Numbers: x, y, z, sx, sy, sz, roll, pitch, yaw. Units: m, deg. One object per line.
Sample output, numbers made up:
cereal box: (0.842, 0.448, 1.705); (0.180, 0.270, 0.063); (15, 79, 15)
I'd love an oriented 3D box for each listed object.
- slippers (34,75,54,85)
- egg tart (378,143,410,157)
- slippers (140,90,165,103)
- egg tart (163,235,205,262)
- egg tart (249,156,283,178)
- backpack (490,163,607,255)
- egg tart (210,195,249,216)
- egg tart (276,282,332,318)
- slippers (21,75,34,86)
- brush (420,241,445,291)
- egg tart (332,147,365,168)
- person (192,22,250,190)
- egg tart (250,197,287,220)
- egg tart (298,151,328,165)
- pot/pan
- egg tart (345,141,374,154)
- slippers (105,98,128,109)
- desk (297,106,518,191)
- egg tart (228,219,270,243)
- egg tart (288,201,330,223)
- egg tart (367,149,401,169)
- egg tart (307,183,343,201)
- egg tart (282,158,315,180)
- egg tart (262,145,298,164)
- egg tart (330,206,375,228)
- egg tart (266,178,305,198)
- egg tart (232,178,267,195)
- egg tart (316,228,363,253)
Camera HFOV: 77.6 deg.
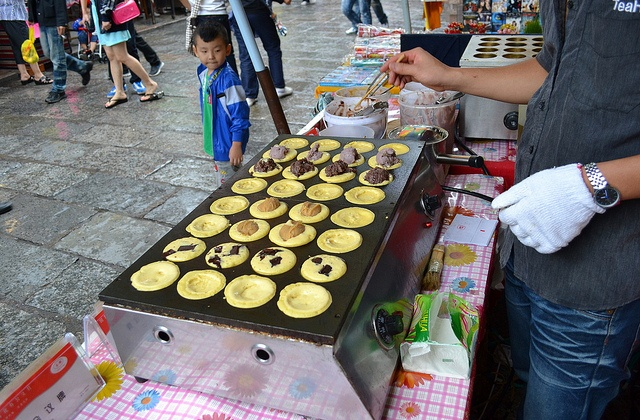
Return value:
slippers: (-5.403, -2.545, 7.818); (0.445, 0.169, 0.206); (-3, 45, -6)
egg tart: (0.369, -0.301, 1.918); (0.090, 0.012, 0.088); (-29, 36, -33)
slippers: (-2.804, -1.904, 6.671); (0.358, 0.074, 0.184); (-2, 30, 8)
egg tart: (-0.503, 0.145, 1.458); (0.103, 0.010, 0.089); (-14, 33, -21)
egg tart: (-0.265, -0.193, 1.879); (0.116, 0.034, 0.112); (16, 39, 24)
backpack: (0.731, -0.004, 1.303); (0.309, 0.281, 0.148); (9, 38, 22)
egg tart: (-0.381, -0.016, 1.676); (0.105, 0.017, 0.098); (-12, 32, -13)
egg tart: (-0.049, 0.289, 1.254); (0.170, 0.020, 0.139); (0, 33, 8)
slippers: (-5.749, -2.564, 7.846); (0.350, 0.125, 0.117); (-16, 48, -19)
brush: (0.475, 0.248, 1.704); (0.072, 0.060, 0.232); (1, 27, 21)
egg tart: (0.139, -0.251, 1.879); (0.122, 0.036, 0.114); (2, 35, 12)
person: (-0.826, -0.818, 3.465); (0.566, 1.463, 0.428); (-11, 21, -24)
egg tart: (-0.212, 0.000, 1.617); (0.116, 0.035, 0.107); (3, 34, 5)
egg tart: (-0.032, -0.254, 1.945); (0.101, 0.015, 0.094); (-4, 25, -4)
pot/pan: (0.604, -0.347, 2.096); (0.462, 0.159, 0.250); (20, 39, 39)
egg tart: (0.201, -0.322, 2.010); (0.098, 0.010, 0.095); (14, 40, 26)
slippers: (-3.366, -1.787, 6.642); (0.147, 0.103, 0.373); (6, 26, 19)
desk: (0.483, -0.322, 2.104); (0.350, 0.432, 0.388); (12, 37, 23)
egg tart: (-0.269, 0.080, 1.523); (0.107, 0.036, 0.106); (9, 27, 25)
egg tart: (-0.055, 0.014, 1.578); (0.112, 0.032, 0.105); (7, 34, 15)
egg tart: (0.296, -0.231, 1.810); (0.115, 0.047, 0.116); (26, 46, 35)
egg tart: (0.019, -0.075, 1.719); (0.100, 0.019, 0.094); (5, 38, 13)
egg tart: (-0.103, -0.183, 1.841); (0.122, 0.043, 0.115); (4, 33, 12)
egg tart: (-0.191, -0.276, 1.985); (0.124, 0.036, 0.115); (-11, 34, -10)
egg tart: (0.125, 0.033, 1.542); (0.104, 0.017, 0.101); (-19, 40, -16)
egg tart: (-0.153, -0.090, 1.756); (0.102, 0.012, 0.098); (-21, 35, -29)
egg tart: (-0.323, -0.106, 1.793); (0.101, 0.013, 0.094); (-11, 34, -7)
egg tart: (0.069, 0.115, 1.443); (0.108, 0.013, 0.099); (-6, 32, -5)
